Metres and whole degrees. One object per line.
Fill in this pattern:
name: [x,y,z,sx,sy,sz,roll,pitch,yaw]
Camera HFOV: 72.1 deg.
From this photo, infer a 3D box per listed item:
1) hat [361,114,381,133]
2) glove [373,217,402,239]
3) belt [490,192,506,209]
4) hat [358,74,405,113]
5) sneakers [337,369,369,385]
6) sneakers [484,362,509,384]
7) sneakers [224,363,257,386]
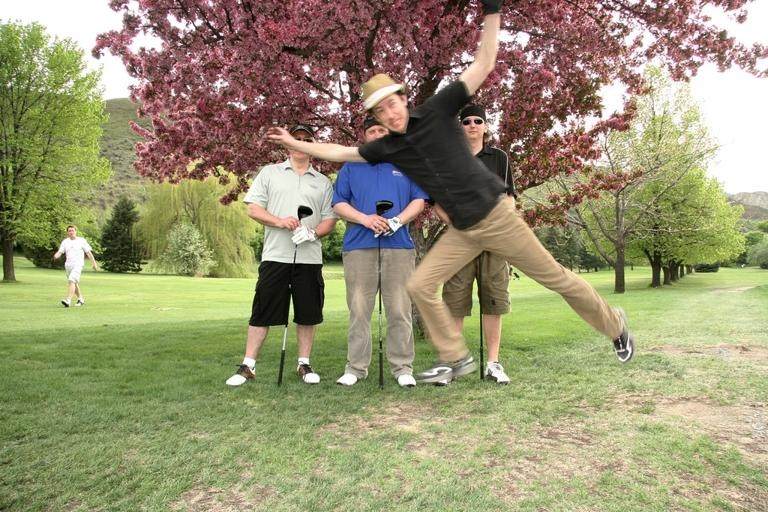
hat: [-0.215,-1.912,7.584,0.268,0.319,0.343,-10,9,-8]
glove: [0.038,-0.386,7.264,0.142,0.220,0.355,-19,-4,-33]
belt: [1.354,-0.669,6.358,0.178,0.140,0.279,4,6,37]
hat: [-0.019,-2.033,6.447,0.505,0.465,0.236,-1,-3,5]
sneakers: [-0.456,1.736,7.494,0.156,0.170,0.430,-9,-13,28]
sneakers: [1.611,1.682,7.598,0.187,0.172,0.377,-1,-3,-23]
sneakers: [-1.986,1.670,7.472,0.264,0.273,0.519,-3,-4,41]
